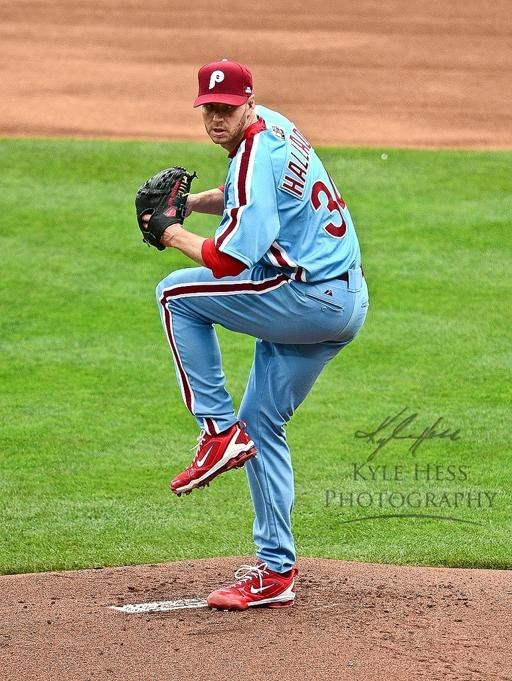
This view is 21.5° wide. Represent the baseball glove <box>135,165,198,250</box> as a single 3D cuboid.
[{"bbox_3d":[-0.403,-0.493,5.670,0.186,0.252,0.331,23,35,-12],"label":"baseball glove"}]

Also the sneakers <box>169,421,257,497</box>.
[{"bbox_3d":[-0.200,0.519,5.829,0.449,0.212,0.155,-31,-11,22],"label":"sneakers"}]

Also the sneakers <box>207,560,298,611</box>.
[{"bbox_3d":[-0.005,1.069,5.928,0.450,0.206,0.157,0,-6,-8],"label":"sneakers"}]

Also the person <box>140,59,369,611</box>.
[{"bbox_3d":[-0.021,0.054,5.769,0.976,2.251,0.523,1,15,4],"label":"person"}]
